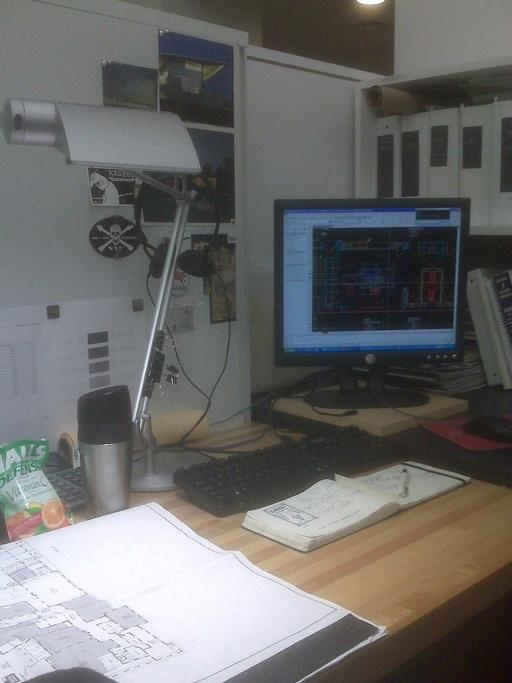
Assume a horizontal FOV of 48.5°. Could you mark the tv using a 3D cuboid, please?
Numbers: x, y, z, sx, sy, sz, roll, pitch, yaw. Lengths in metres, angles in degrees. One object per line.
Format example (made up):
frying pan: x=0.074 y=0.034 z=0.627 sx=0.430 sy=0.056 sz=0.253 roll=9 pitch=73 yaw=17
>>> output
tv: x=0.246 y=-0.093 z=1.205 sx=0.485 sy=0.492 sz=0.166 roll=-1 pitch=5 yaw=-5

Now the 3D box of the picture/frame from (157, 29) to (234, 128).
picture/frame: x=-0.114 y=-0.477 z=1.050 sx=0.007 sy=0.160 sz=0.215 roll=24 pitch=24 yaw=35

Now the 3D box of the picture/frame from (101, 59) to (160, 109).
picture/frame: x=-0.211 y=-0.427 z=0.957 sx=0.110 sy=0.068 sz=0.002 roll=15 pitch=22 yaw=18
